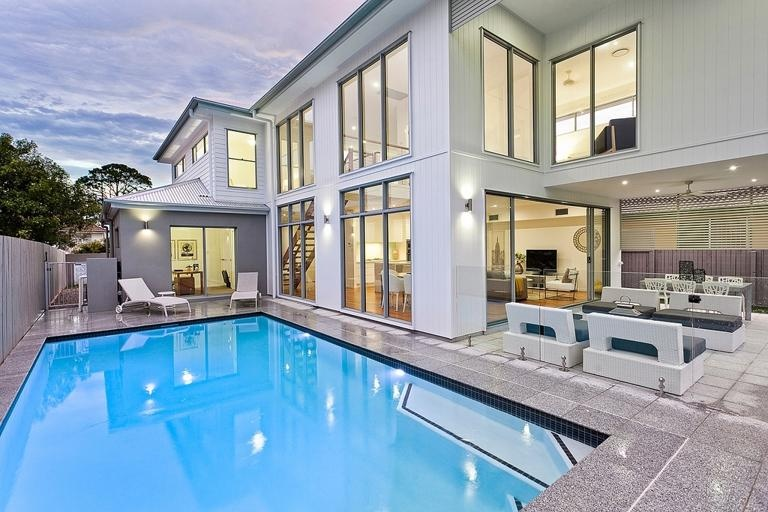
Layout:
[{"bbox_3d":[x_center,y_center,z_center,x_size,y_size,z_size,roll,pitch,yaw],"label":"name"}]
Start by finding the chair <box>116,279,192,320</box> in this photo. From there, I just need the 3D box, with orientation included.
[{"bbox_3d":[-6.399,1.192,13.230,0.781,0.652,1.337,14,11,-15],"label":"chair"}]

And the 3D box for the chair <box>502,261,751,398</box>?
[{"bbox_3d":[4.902,1.531,8.909,4.177,1.631,2.651,-1,2,-25],"label":"chair"}]

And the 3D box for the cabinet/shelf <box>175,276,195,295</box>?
[{"bbox_3d":[-6.874,1.041,15.259,0.593,0.862,0.620,-2,4,-25],"label":"cabinet/shelf"}]

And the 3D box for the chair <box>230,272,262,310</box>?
[{"bbox_3d":[-4.381,1.026,14.159,0.803,0.901,1.331,-1,4,-1],"label":"chair"}]

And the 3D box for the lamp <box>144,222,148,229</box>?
[{"bbox_3d":[-7.520,-0.973,14.007,0.128,0.214,0.058,-2,2,-36],"label":"lamp"}]

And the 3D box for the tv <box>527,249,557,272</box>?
[{"bbox_3d":[6.112,0.194,16.964,0.815,0.724,0.188,2,3,31],"label":"tv"}]

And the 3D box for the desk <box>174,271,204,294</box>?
[{"bbox_3d":[-6.865,0.879,15.554,0.863,0.863,0.868,-1,-2,-21],"label":"desk"}]

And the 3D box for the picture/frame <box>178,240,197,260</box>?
[{"bbox_3d":[-6.827,-0.219,15.282,0.659,0.849,0.059,1,-2,-27],"label":"picture/frame"}]

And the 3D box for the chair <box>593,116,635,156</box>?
[{"bbox_3d":[5.697,-2.946,10.863,1.022,1.056,0.736,-2,2,-10],"label":"chair"}]

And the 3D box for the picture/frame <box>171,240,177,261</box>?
[{"bbox_3d":[-7.135,-0.207,15.151,0.247,0.690,0.126,-2,3,-35],"label":"picture/frame"}]

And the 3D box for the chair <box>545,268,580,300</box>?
[{"bbox_3d":[5.270,0.832,13.202,1.020,1.129,1.147,0,-1,26],"label":"chair"}]

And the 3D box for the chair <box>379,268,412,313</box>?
[{"bbox_3d":[0.603,0.892,11.713,0.902,1.270,1.008,-1,1,-45],"label":"chair"}]
